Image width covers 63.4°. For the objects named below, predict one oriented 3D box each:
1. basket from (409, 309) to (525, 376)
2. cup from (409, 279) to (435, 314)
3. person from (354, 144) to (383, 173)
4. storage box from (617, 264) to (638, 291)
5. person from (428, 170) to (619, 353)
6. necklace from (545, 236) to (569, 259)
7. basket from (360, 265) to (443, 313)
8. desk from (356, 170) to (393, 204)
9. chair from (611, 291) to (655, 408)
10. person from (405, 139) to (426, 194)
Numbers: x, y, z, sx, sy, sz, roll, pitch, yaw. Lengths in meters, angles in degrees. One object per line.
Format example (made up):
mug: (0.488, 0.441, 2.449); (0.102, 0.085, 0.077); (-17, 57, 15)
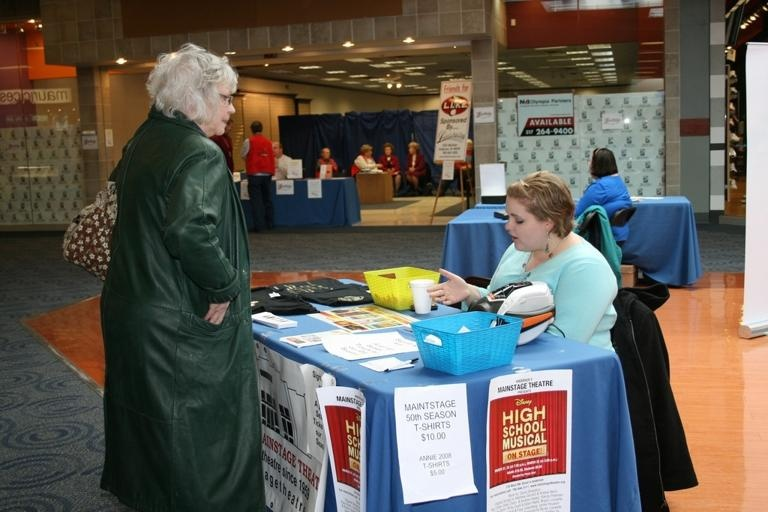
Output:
basket: (0.313, 0.309, 2.263); (0.302, 0.137, 0.228); (-2, -1, -31)
cup: (0.167, 0.180, 2.749); (0.137, 0.149, 0.138); (-2, 2, 0)
person: (-0.452, -2.416, 15.848); (0.723, 0.729, 1.176); (-1, 8, -1)
storage box: (2.155, 0.185, 5.497); (0.192, 0.205, 0.363); (2, -7, 8)
person: (0.589, 0.099, 2.934); (0.732, 0.781, 0.955); (0, 7, -8)
necklace: (0.763, -0.037, 2.744); (0.093, 0.077, 0.079); (1, 1, 10)
basket: (0.044, 0.154, 2.948); (0.206, 0.137, 0.279); (-3, 0, -25)
desk: (-0.235, -1.664, 15.554); (0.859, 0.783, 0.708); (-2, 8, -5)
chair: (1.084, 0.442, 2.677); (0.183, 0.599, 0.183); (13, 32, 43)
person: (0.876, -2.381, 17.128); (0.591, 1.347, 1.317); (0, 8, 7)
